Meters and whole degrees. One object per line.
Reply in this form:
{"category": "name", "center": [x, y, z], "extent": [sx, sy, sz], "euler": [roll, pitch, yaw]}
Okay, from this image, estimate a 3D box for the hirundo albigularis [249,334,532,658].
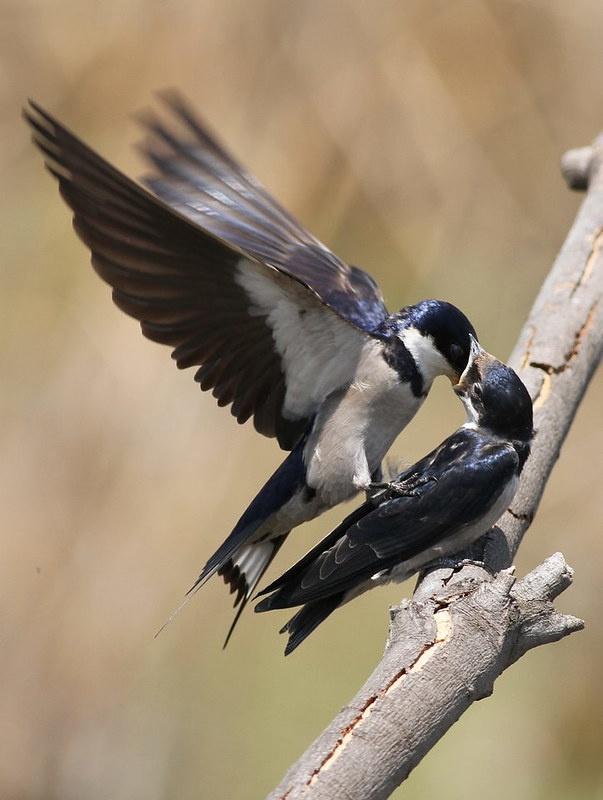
{"category": "hirundo albigularis", "center": [0.216, 0.245, 2.663], "extent": [0.806, 0.533, 0.292], "euler": [-19, -6, 22]}
